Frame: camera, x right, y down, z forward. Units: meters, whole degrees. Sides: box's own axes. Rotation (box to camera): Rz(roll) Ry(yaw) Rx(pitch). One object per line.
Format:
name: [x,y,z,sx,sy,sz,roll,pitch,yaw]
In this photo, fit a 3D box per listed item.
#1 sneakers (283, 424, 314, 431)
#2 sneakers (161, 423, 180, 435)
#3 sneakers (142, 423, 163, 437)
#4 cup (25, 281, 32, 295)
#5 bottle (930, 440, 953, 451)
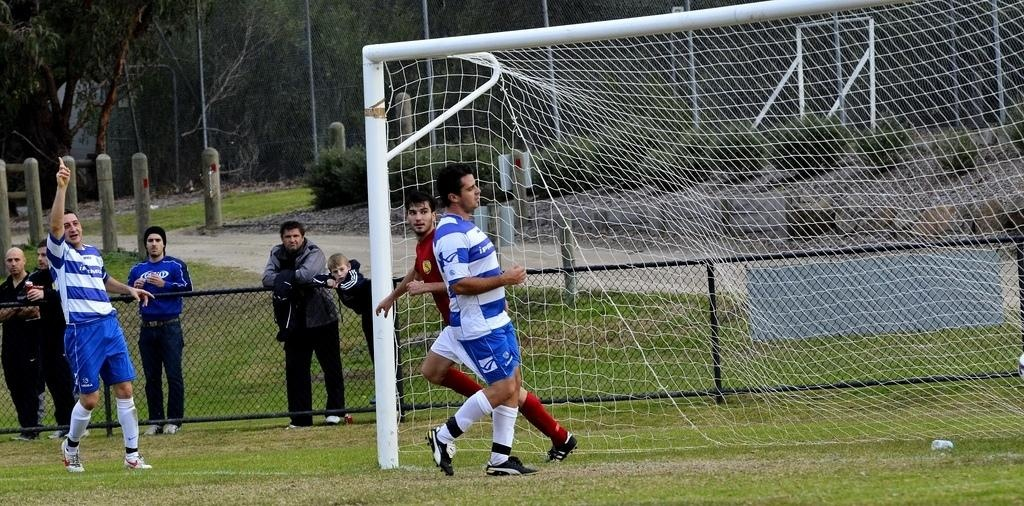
sneakers: [-4.834,3.965,29.920,0.579,0.223,0.185,-2,-5,13]
sneakers: [-7.826,4.049,30.075,0.392,0.189,0.162,-9,12,37]
sneakers: [-8.193,4.066,30.060,0.568,0.222,0.184,1,-4,23]
cup: [-10.941,0.811,29.844,0.214,0.258,0.090,8,-11,26]
bottle: [8.976,4.019,27.399,0.238,0.120,0.309,1,-3,-9]
